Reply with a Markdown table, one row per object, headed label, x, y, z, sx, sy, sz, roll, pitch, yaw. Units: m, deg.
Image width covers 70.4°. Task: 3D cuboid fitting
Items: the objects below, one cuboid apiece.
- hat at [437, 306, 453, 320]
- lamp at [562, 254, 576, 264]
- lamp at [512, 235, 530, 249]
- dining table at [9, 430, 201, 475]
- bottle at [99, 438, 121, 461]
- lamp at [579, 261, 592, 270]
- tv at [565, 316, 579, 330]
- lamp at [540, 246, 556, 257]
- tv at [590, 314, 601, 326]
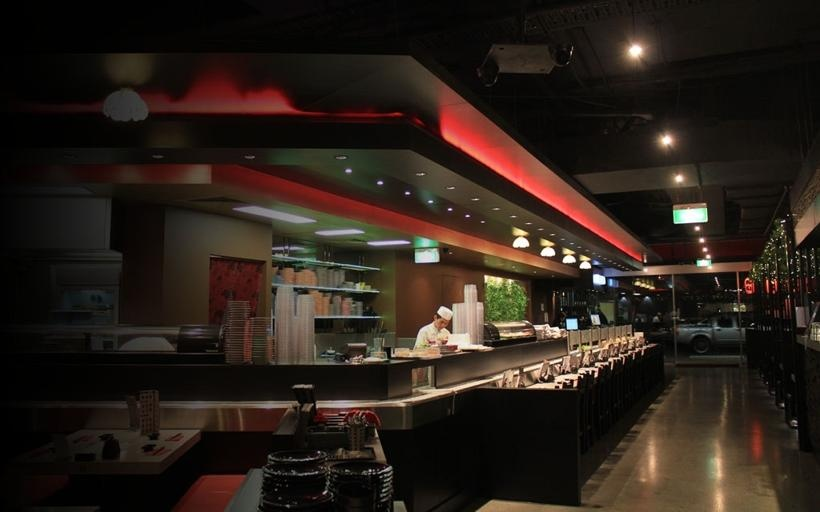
| label | x | y | z | sx | sy | sz | roll | pitch | yaw |
| --- | --- | --- | --- | --- | --- | --- | --- | --- | --- |
| hat | 0.469 | 0.802 | 8.235 | 0.258 | 0.156 | 0.238 | 3 | 2 | -29 |
| lamp | 3.545 | 0.064 | 12.919 | 0.275 | 0.168 | 0.256 | -4 | 5 | -11 |
| lamp | 1.972 | -0.249 | 10.292 | 0.270 | 0.180 | 0.265 | -2 | 0 | 17 |
| dining table | -2.469 | 1.640 | 4.853 | 1.191 | 0.326 | 0.919 | -2 | -8 | -1 |
| bottle | -2.309 | 1.524 | 4.592 | 0.184 | 0.157 | 0.128 | 3 | -6 | -1 |
| lamp | 4.363 | 0.224 | 14.793 | 0.348 | 0.206 | 0.360 | -3 | -2 | 39 |
| tv | 4.454 | 1.851 | 16.036 | 0.454 | 0.251 | 0.056 | 6 | -4 | -42 |
| lamp | 2.865 | -0.095 | 11.827 | 0.265 | 0.156 | 0.246 | -3 | 6 | -20 |
| tv | 5.741 | 1.957 | 17.997 | 0.125 | 0.324 | 0.534 | -9 | -13 | 35 |
